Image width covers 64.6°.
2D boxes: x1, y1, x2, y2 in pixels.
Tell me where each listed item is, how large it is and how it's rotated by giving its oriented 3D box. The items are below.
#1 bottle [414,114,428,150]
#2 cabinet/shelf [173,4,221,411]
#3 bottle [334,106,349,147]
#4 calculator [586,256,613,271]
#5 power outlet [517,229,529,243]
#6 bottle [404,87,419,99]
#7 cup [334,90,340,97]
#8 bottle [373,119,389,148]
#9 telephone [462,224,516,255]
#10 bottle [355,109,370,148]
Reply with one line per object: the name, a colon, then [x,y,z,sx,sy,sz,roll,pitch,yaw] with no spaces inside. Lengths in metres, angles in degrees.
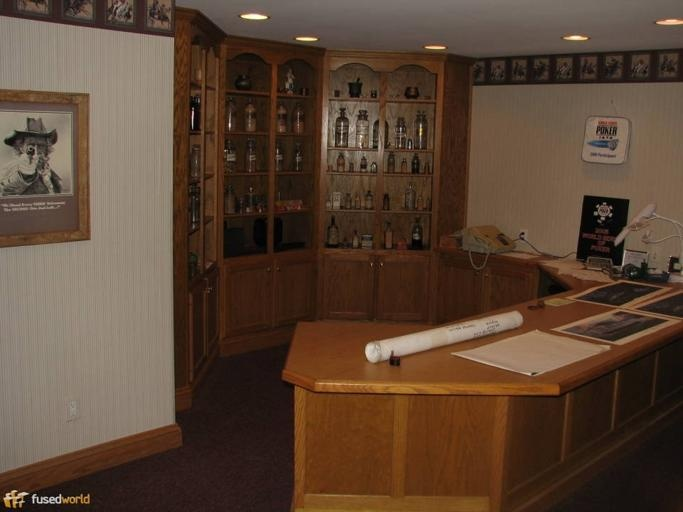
bottle: [0.950,-1.508,6.459,0.159,0.419,0.217,3,13,10]
cabinet/shelf: [-1.266,-0.425,4.889,0.355,3.265,1.430,0,12,-4]
bottle: [0.005,-1.517,6.355,0.182,0.459,0.310,0,12,0]
calculator: [2.598,0.030,5.447,0.194,0.123,0.146,10,14,42]
power outlet: [2.157,-0.244,6.417,0.049,0.143,0.145,-3,8,-37]
bottle: [0.819,-1.905,6.359,0.144,0.098,0.148,1,11,0]
cup: [-0.052,-1.936,6.421,0.076,0.089,0.078,2,7,0]
bottle: [0.471,-1.440,6.390,0.179,0.325,0.399,2,13,8]
telephone: [1.636,-0.195,6.181,0.395,0.185,0.386,-7,14,-41]
bottle: [0.255,-1.503,6.379,0.162,0.453,0.322,1,12,1]
